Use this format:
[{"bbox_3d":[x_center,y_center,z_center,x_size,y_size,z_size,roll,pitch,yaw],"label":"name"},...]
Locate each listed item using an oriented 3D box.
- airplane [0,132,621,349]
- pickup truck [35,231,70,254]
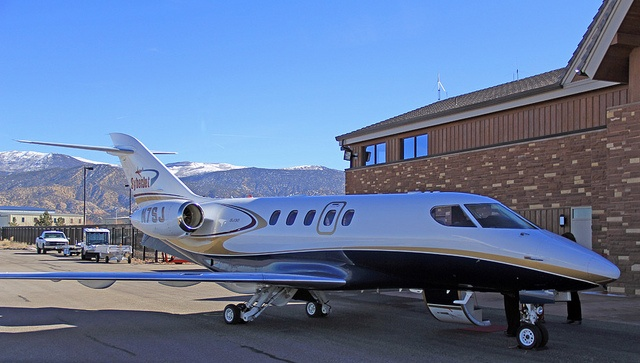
[{"bbox_3d":[1.273,2.396,16.603,15.126,4.088,3.937,-1,-2,17],"label":"airplane"},{"bbox_3d":[-29.814,6.067,55.813,2.642,1.561,5.322,-2,12,-38],"label":"pickup truck"}]
